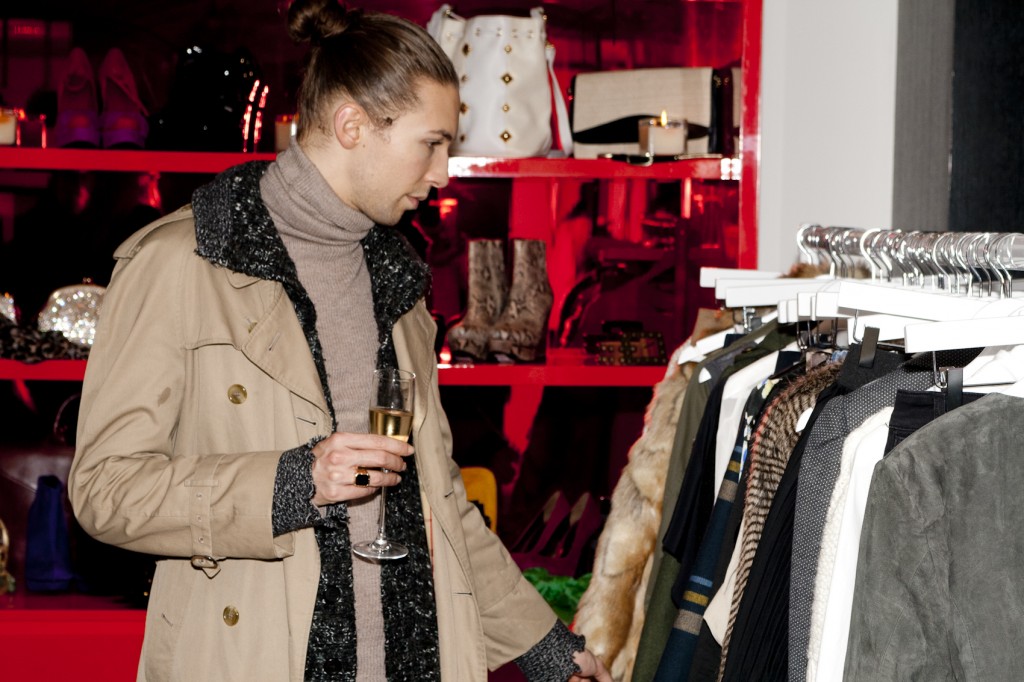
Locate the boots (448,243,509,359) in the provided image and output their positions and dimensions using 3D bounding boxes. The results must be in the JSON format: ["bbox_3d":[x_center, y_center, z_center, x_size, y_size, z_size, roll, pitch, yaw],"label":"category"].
[{"bbox_3d":[-0.126,-0.152,3.023,0.143,0.357,0.348,3,23,24],"label":"boots"}]

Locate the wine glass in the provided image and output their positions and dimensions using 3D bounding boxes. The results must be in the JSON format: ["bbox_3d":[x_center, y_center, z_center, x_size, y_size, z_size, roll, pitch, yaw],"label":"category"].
[{"bbox_3d":[-0.240,0.242,1.654,0.126,0.387,0.294,-2,6,-10],"label":"wine glass"}]

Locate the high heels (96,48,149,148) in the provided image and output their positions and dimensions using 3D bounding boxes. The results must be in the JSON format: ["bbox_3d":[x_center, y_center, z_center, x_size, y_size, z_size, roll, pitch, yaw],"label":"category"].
[{"bbox_3d":[-1.273,-0.761,2.900,0.117,0.392,0.147,0,-16,-13],"label":"high heels"}]

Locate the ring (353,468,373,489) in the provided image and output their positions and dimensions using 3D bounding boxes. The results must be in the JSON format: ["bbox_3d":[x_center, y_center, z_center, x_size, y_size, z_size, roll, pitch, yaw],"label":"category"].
[{"bbox_3d":[-0.256,0.231,1.505,0.019,0.032,0.027,0,5,-9],"label":"ring"}]

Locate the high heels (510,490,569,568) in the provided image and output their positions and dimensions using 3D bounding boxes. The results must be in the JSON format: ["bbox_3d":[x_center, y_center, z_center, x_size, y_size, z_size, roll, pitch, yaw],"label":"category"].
[{"bbox_3d":[0.103,0.660,3.173,0.077,0.247,0.090,-23,42,-9],"label":"high heels"}]

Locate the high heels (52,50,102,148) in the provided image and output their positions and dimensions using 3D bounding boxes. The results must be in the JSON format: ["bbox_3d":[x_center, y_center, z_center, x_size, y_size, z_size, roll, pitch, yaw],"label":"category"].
[{"bbox_3d":[-1.427,-0.738,2.929,0.131,0.408,0.123,0,-18,-18],"label":"high heels"}]

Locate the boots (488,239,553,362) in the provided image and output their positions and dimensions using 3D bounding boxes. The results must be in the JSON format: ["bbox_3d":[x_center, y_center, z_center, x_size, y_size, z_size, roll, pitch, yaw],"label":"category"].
[{"bbox_3d":[0.020,-0.141,2.981,0.145,0.406,0.392,-1,10,23],"label":"boots"}]
